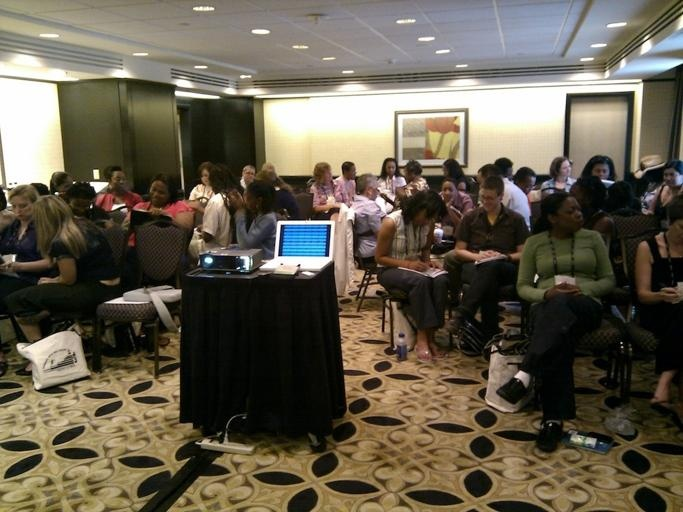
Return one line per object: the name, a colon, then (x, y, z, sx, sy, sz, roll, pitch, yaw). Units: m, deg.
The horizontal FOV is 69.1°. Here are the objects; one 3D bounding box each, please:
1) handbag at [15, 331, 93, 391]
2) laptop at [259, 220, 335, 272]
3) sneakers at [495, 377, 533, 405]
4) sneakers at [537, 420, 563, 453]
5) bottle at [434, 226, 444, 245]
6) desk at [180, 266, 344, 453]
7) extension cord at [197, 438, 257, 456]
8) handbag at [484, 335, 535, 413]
handbag: (-2.368, 0.872, 4.029, 0.365, 0.324, 0.132, -18, -5, -23)
laptop: (-0.299, -0.146, 3.323, 0.409, 0.244, 0.373, 1, 18, 13)
sneakers: (1.188, 0.914, 3.383, 0.122, 0.120, 0.337, 19, 6, 34)
sneakers: (1.317, 1.133, 3.113, 0.096, 0.094, 0.266, 0, 6, 25)
bottle: (1.126, -0.232, 5.783, 0.135, 0.174, 0.170, -6, 19, 2)
desk: (-0.536, 0.644, 3.199, 1.040, 1.104, 0.413, 1, 14, 10)
extension cord: (-0.730, 1.200, 3.091, 0.293, 0.077, 0.131, 6, -1, 5)
handbag: (1.271, 0.819, 3.514, 0.216, 0.455, 0.667, 10, 15, 39)
